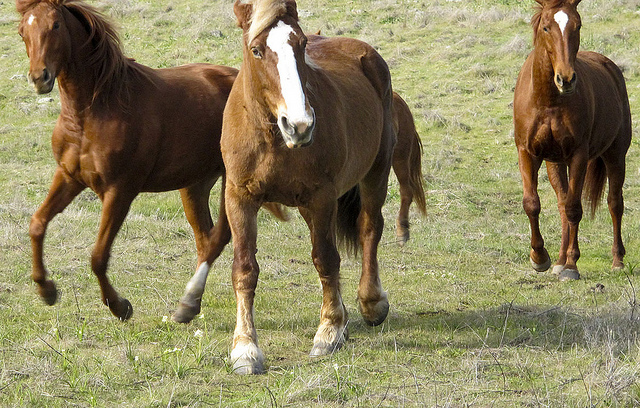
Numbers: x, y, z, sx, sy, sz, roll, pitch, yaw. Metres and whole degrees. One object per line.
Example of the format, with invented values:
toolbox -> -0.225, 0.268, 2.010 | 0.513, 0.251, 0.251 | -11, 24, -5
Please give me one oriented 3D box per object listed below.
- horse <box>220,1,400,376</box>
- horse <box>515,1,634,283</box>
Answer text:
horse -> -0.187, -0.466, 13.078 | 1.435, 4.833, 3.543 | 2, 16, 32
horse -> 4.428, -1.221, 16.064 | 1.424, 4.644, 2.632 | 3, 16, 36
